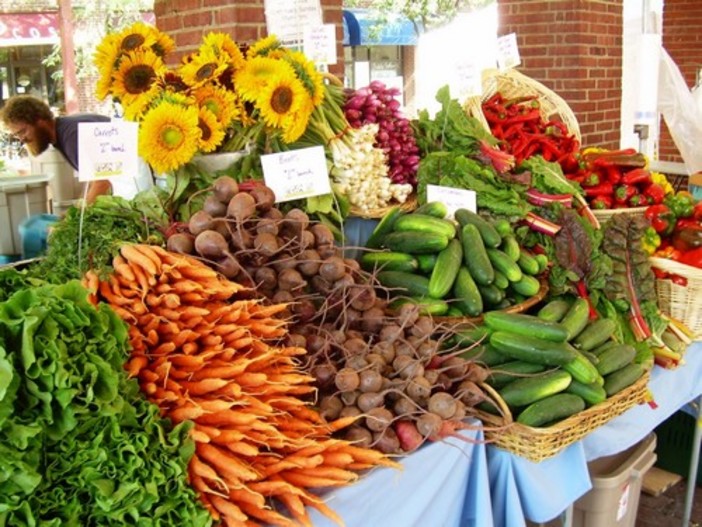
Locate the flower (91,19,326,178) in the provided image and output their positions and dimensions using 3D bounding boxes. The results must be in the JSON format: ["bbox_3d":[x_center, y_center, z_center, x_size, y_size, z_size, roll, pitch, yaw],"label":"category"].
[{"bbox_3d":[-0.670,-0.813,2.546,1.047,0.732,0.445,-6,7,-26],"label":"flower"}]

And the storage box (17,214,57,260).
[{"bbox_3d":[-2.369,-0.204,3.913,0.257,0.342,0.837,-7,7,-30],"label":"storage box"}]

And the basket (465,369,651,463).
[{"bbox_3d":[0.928,0.667,2.312,1.018,0.343,0.235,-6,7,-30],"label":"basket"}]
